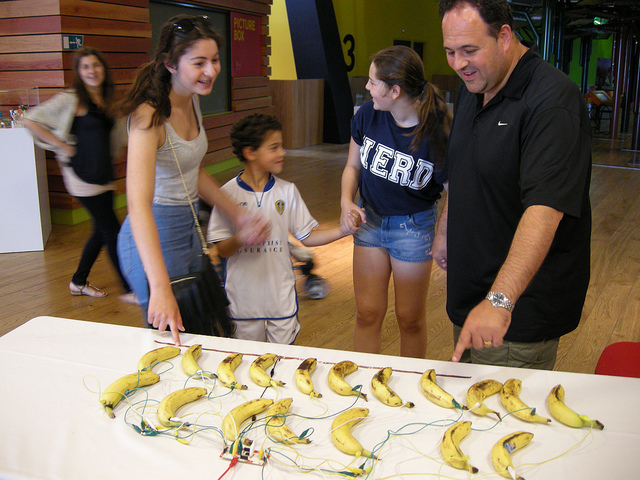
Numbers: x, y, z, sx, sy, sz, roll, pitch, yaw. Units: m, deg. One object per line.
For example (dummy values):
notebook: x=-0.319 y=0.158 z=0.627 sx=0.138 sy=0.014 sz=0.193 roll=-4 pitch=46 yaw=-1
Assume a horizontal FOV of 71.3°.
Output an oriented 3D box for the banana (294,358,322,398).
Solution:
banana: x=-0.041 y=0.474 z=1.526 sx=0.105 sy=0.056 sz=0.217 roll=6 pitch=15 yaw=0

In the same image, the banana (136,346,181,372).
banana: x=-0.581 y=0.429 z=1.616 sx=0.058 sy=0.043 sz=0.181 roll=9 pitch=19 yaw=30

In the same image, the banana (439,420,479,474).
banana: x=0.381 y=0.578 z=1.250 sx=0.068 sy=0.033 sz=0.132 roll=-4 pitch=25 yaw=12

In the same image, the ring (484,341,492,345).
ring: x=0.536 y=0.334 z=1.430 sx=0.014 sy=0.004 sz=0.015 roll=-1 pitch=5 yaw=0

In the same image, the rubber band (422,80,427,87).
rubber band: x=0.521 y=-0.793 z=2.240 sx=0.012 sy=0.015 sz=0.054 roll=24 pitch=57 yaw=7

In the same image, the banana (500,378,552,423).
banana: x=0.621 y=0.509 z=1.398 sx=0.104 sy=0.054 sz=0.206 roll=-9 pitch=15 yaw=4

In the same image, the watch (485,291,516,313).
watch: x=0.576 y=0.200 z=1.440 sx=0.081 sy=0.060 sz=0.041 roll=6 pitch=17 yaw=23

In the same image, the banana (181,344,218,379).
banana: x=-0.431 y=0.432 z=1.587 sx=0.074 sy=0.033 sz=0.147 roll=-19 pitch=37 yaw=-16

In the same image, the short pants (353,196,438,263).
short pants: x=0.389 y=-0.048 z=2.522 sx=0.431 sy=0.341 sz=0.323 roll=1 pitch=17 yaw=18

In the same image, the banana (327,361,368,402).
banana: x=0.092 y=0.476 z=1.505 sx=0.123 sy=0.054 sz=0.216 roll=-4 pitch=12 yaw=4

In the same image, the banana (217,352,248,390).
banana: x=-0.304 y=0.462 z=1.564 sx=0.112 sy=0.047 sz=0.204 roll=9 pitch=16 yaw=-4

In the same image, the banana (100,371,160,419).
banana: x=-0.635 y=0.494 z=1.465 sx=0.117 sy=0.058 sz=0.200 roll=7 pitch=18 yaw=24

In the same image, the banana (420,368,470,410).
banana: x=0.382 y=0.495 z=1.461 sx=0.109 sy=0.056 sz=0.225 roll=-9 pitch=17 yaw=-9

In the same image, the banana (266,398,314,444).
banana: x=-0.106 y=0.555 z=1.354 sx=0.119 sy=0.056 sz=0.224 roll=2 pitch=14 yaw=-13

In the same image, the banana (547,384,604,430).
banana: x=0.752 y=0.518 z=1.347 sx=0.117 sy=0.058 sz=0.155 roll=-7 pitch=18 yaw=-21

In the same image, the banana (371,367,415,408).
banana: x=0.226 y=0.494 z=1.462 sx=0.104 sy=0.052 sz=0.200 roll=-11 pitch=18 yaw=-3

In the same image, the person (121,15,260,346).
person: x=-0.580 y=-0.245 z=1.889 sx=0.363 sy=1.344 sz=0.628 roll=4 pitch=16 yaw=17

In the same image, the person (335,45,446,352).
person: x=0.390 y=-0.172 z=2.474 sx=0.538 sy=1.694 sz=0.364 roll=0 pitch=15 yaw=2

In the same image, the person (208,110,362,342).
person: x=-0.203 y=0.288 z=2.527 sx=0.789 sy=1.929 sz=0.499 roll=2 pitch=22 yaw=-3

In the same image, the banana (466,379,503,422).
banana: x=0.514 y=0.512 z=1.409 sx=0.070 sy=0.036 sz=0.126 roll=-4 pitch=18 yaw=18

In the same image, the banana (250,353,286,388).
banana: x=-0.186 y=0.461 z=1.563 sx=0.120 sy=0.055 sz=0.214 roll=1 pitch=13 yaw=-1

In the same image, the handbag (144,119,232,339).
handbag: x=-0.517 y=-0.019 z=1.887 sx=0.235 sy=0.953 sz=0.443 roll=-4 pitch=16 yaw=-13

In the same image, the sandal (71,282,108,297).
sandal: x=-2.062 y=0.455 z=4.017 sx=0.335 sy=0.161 sz=0.121 roll=0 pitch=14 yaw=-14

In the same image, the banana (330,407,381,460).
banana: x=0.099 y=0.568 z=1.303 sx=0.134 sy=0.057 sz=0.235 roll=-8 pitch=8 yaw=8
